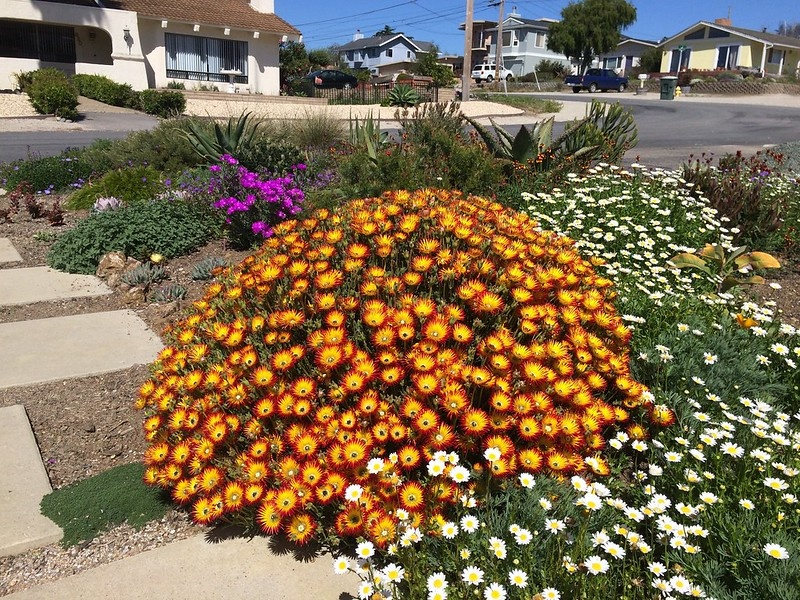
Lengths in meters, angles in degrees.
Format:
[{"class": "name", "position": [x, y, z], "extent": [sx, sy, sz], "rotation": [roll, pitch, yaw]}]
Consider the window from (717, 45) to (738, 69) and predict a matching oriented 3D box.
[{"class": "window", "position": [33.205, -24.732, 57.669], "extent": [0.447, 2.054, 2.277], "rotation": [-4, 26, -15]}]

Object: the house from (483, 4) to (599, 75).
[{"class": "house", "position": [14.854, -31.867, 70.906], "extent": [8.594, 6.596, 11.587], "rotation": [6, 26, 7]}]
